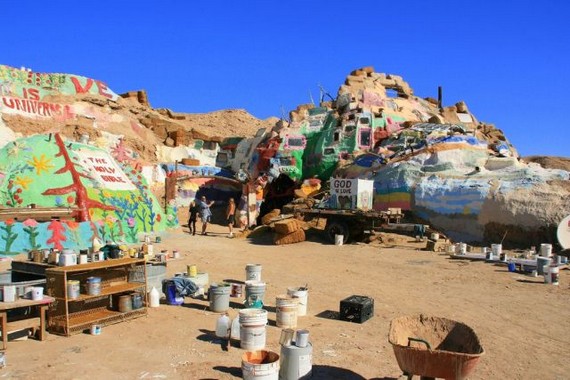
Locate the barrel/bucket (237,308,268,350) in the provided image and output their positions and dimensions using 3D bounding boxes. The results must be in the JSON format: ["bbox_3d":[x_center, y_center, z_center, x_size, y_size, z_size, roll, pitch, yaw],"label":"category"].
[{"bbox_3d":[-0.511,3.007,9.909,0.953,0.663,0.796,0,-6,0],"label":"barrel/bucket"}]

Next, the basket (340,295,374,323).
[{"bbox_3d":[1.810,2.933,11.219,0.721,0.330,0.712,-4,5,-44],"label":"basket"}]

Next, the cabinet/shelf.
[{"bbox_3d":[-4.470,2.553,10.651,0.799,1.015,2.177,-13,-10,38],"label":"cabinet/shelf"}]

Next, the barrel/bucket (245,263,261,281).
[{"bbox_3d":[-0.907,2.289,12.675,0.617,0.404,0.513,0,-3,10],"label":"barrel/bucket"}]

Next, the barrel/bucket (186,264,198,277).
[{"bbox_3d":[-2.652,2.312,12.930,0.401,0.290,0.334,0,-4,1],"label":"barrel/bucket"}]

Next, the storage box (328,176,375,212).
[{"bbox_3d":[2.946,0.183,20.242,1.941,1.214,1.689,0,-3,26],"label":"storage box"}]

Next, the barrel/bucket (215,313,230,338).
[{"bbox_3d":[-1.368,3.044,10.027,0.400,0.460,0.299,4,11,15],"label":"barrel/bucket"}]

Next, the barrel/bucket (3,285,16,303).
[{"bbox_3d":[-5.858,2.162,9.531,0.244,0.324,0.362,-4,11,-26],"label":"barrel/bucket"}]

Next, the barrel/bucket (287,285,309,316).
[{"bbox_3d":[0.411,2.783,11.396,0.808,0.575,0.667,0,-7,5],"label":"barrel/bucket"}]

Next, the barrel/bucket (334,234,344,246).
[{"bbox_3d":[2.302,2.117,19.147,0.547,0.424,0.457,1,-3,-11],"label":"barrel/bucket"}]

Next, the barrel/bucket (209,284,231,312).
[{"bbox_3d":[-1.650,2.808,11.677,0.705,0.505,0.586,2,-12,-7],"label":"barrel/bucket"}]

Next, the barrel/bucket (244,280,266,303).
[{"bbox_3d":[-0.803,2.601,11.724,0.672,0.416,0.580,-1,-4,21],"label":"barrel/bucket"}]
